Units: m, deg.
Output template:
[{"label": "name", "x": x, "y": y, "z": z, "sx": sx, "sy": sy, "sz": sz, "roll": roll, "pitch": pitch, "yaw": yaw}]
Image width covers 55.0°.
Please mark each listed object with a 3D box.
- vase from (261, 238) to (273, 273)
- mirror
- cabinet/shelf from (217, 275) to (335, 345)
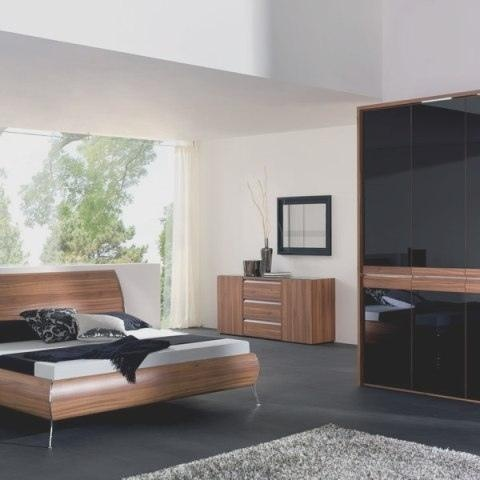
[{"label": "vase", "x": 0.393, "y": 0.229, "z": 6.678, "sx": 0.173, "sy": 0.536, "sz": 0.387, "roll": 0, "pitch": -4, "yaw": 3}, {"label": "mirror", "x": 0.920, "y": -0.209, "z": 6.430, "sx": 0.773, "sy": 0.869, "sz": 0.063, "roll": 1, "pitch": 1, "yaw": 40}, {"label": "cabinet/shelf", "x": 0.448, "y": 0.972, "z": 6.597, "sx": 1.663, "sy": 0.907, "sz": 0.450, "roll": -2, "pitch": -1, "yaw": 42}]
